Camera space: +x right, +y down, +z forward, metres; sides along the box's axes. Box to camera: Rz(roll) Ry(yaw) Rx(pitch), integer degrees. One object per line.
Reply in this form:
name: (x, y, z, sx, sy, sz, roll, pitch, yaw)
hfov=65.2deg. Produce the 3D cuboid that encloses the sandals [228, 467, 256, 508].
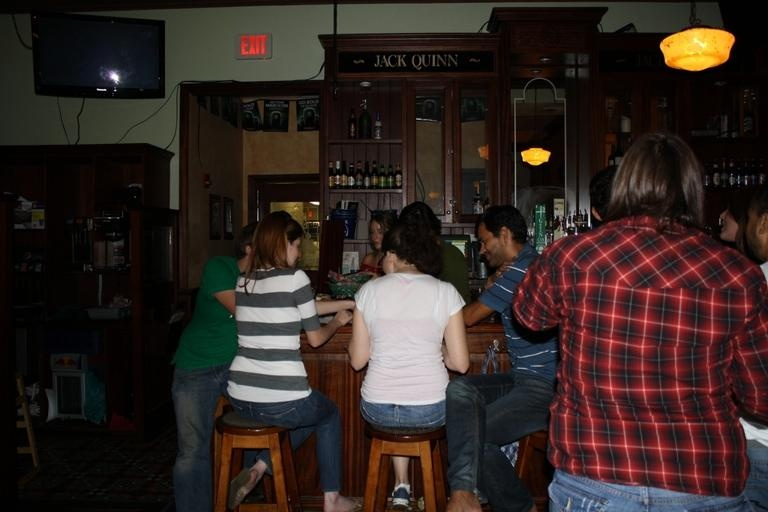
sandals: (-0.857, 1.385, 3.640, 0.097, 0.248, 0.088, 19, 17, -49)

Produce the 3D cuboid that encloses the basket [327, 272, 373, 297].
basket: (-0.235, 0.192, 4.148, 0.210, 0.108, 0.190, -1, -7, 0)

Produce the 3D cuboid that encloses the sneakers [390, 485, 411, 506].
sneakers: (0.109, 1.501, 3.775, 0.080, 0.092, 0.191, 0, -1, 1)
